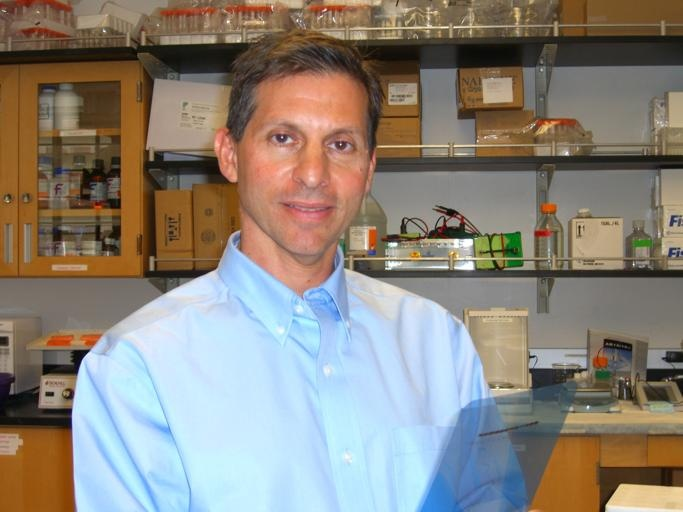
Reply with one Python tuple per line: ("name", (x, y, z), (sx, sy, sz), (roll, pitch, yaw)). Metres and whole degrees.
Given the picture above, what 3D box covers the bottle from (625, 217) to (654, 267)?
("bottle", (1.397, -0.062, 3.907), (0.123, 0.225, 0.401), (0, 0, 19))
